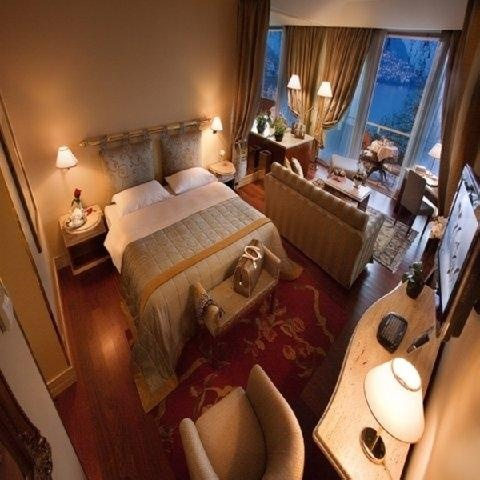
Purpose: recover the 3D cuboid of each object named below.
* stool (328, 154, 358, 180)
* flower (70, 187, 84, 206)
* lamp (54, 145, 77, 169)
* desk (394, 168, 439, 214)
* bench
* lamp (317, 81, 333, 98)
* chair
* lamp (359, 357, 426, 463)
[{"bbox_3d":[1.550,-1.087,5.459,0.310,0.207,0.528,11,31,12],"label":"stool"},{"bbox_3d":[-1.773,-0.485,3.975,0.082,0.186,0.108,22,29,14],"label":"flower"},{"bbox_3d":[-1.717,-0.827,3.624,0.171,0.212,0.232,-5,34,-1],"label":"lamp"},{"bbox_3d":[2.212,-0.477,4.588,0.314,0.751,0.321,-6,31,-20],"label":"desk"},{"bbox_3d":[-0.055,0.511,3.410,0.867,0.843,0.433,-25,39,-37],"label":"bench"},{"bbox_3d":[1.328,-2.337,5.683,0.235,0.219,0.272,22,41,28],"label":"lamp"},{"bbox_3d":[2.268,-0.439,4.744,0.392,0.926,0.407,-11,35,-17],"label":"chair"},{"bbox_3d":[0.719,0.720,1.697,0.231,0.262,0.248,1,31,-2],"label":"lamp"}]
